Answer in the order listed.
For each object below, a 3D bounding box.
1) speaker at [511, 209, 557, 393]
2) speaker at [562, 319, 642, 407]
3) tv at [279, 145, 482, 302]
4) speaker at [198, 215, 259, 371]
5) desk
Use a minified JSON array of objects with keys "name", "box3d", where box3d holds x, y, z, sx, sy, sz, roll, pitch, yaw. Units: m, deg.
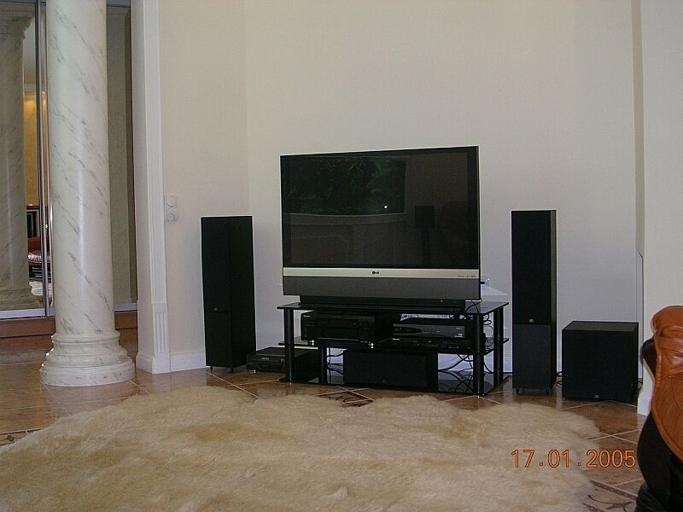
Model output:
[{"name":"speaker","box3d":[1.377,0.345,4.441,0.261,1.338,0.073,-1,5,7]},{"name":"speaker","box3d":[1.804,0.794,4.529,0.695,0.514,0.665,4,-5,-33]},{"name":"tv","box3d":[0.339,-0.243,4.754,1.271,0.924,0.174,0,1,15]},{"name":"speaker","box3d":[-1.003,0.355,5.473,0.295,1.210,0.390,3,12,22]},{"name":"desk","box3d":[0.455,0.736,5.021,1.750,0.678,0.640,-3,3,32]}]
